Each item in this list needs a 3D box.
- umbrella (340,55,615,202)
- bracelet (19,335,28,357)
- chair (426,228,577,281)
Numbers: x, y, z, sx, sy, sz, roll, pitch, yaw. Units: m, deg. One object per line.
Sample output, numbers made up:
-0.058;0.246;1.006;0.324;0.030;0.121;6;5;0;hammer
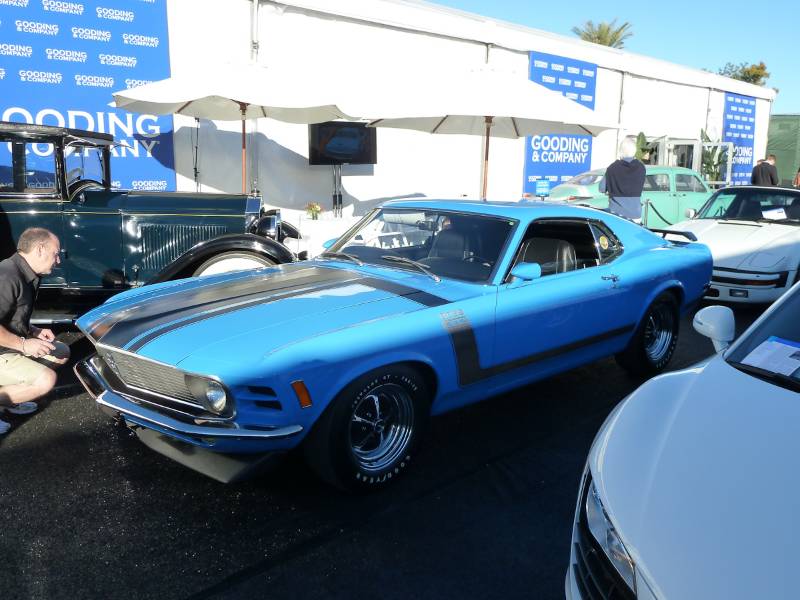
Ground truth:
1.064;-2.894;8.358;3.209;2.067;3.244;1;18;5;umbrella
-2.799;0.323;4.188;0.032;0.104;0.092;-10;21;-32;bracelet
0.779;-0.398;4.424;0.832;0.298;0.581;-2;17;-23;chair
